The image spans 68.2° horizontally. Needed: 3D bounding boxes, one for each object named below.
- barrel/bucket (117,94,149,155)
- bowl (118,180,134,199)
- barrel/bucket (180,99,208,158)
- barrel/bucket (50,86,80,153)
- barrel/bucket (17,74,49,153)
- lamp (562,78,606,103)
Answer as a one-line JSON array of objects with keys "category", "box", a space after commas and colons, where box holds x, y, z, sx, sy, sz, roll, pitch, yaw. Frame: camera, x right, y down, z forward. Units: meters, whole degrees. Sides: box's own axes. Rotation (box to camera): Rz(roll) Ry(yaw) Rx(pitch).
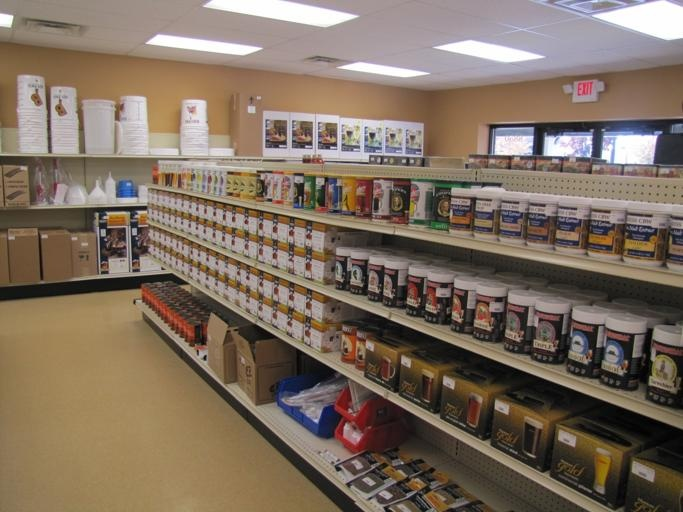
[{"category": "barrel/bucket", "box": [-2.748, -1.698, 6.610, 0.381, 0.744, 0.265, -4, 15, -23]}, {"category": "bowl", "box": [-2.931, -0.914, 6.967, 0.248, 0.265, 0.242, 1, 1, 0]}, {"category": "barrel/bucket", "box": [-2.072, -1.786, 7.080, 0.385, 0.751, 0.329, -2, 14, -17]}, {"category": "barrel/bucket", "box": [-3.423, -1.649, 6.215, 0.309, 0.802, 0.200, -6, 16, -30]}, {"category": "barrel/bucket", "box": [-3.763, -1.697, 6.107, 0.317, 0.901, 0.290, 2, 14, 0]}, {"category": "lamp", "box": [3.570, -2.408, 7.430, 0.110, 0.334, 0.582, -9, 17, -37]}]
